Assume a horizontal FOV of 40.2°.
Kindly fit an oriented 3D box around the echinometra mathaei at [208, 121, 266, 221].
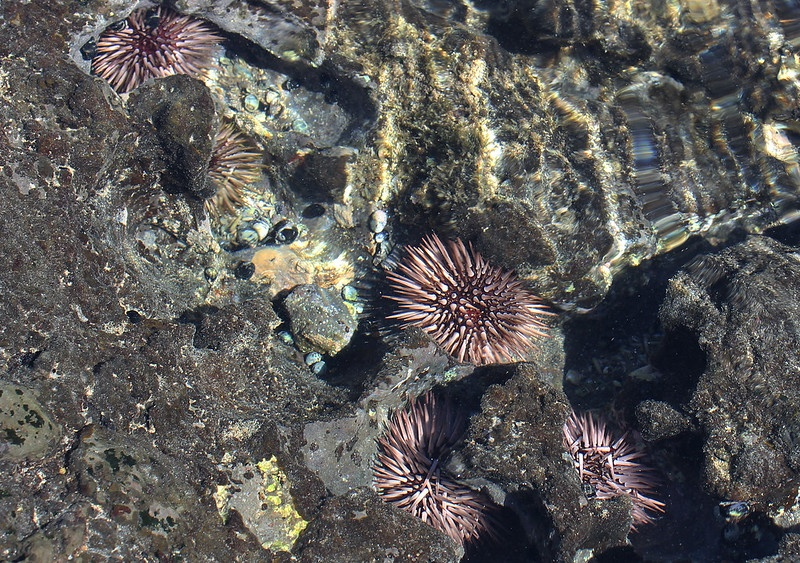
[{"bbox_3d":[-1.702,-1.130,11.320,0.545,0.770,0.238,16,5,-13],"label":"echinometra mathaei"}]
